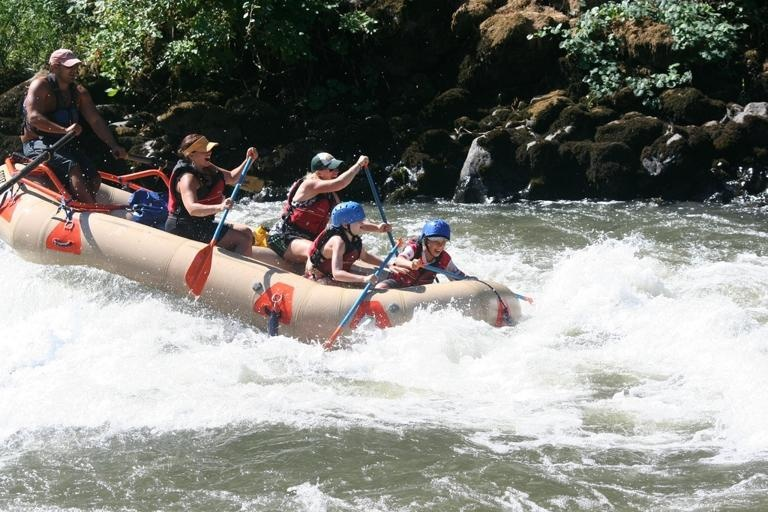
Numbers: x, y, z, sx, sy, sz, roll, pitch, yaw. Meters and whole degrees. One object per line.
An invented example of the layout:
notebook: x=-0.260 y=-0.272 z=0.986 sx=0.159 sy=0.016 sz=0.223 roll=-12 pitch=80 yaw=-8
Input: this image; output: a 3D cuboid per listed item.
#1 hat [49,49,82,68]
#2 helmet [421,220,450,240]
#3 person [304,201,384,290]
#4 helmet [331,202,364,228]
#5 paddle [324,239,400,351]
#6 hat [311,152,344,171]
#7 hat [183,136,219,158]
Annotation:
hat: x=-4.749 y=-2.945 z=16.586 sx=0.429 sy=0.210 sz=0.280 roll=-3 pitch=16 yaw=-1
helmet: x=0.731 y=-0.379 z=15.645 sx=0.360 sy=0.185 sz=0.244 roll=3 pitch=6 yaw=-9
person: x=-0.502 y=-0.035 z=15.733 sx=1.257 sy=1.390 sz=1.108 roll=-2 pitch=23 yaw=-9
helmet: x=-0.513 y=-0.601 z=15.597 sx=0.432 sy=0.243 sz=0.300 roll=0 pitch=4 yaw=5
paddle: x=-0.324 y=0.590 z=15.378 sx=0.166 sy=0.226 sz=2.072 roll=28 pitch=56 yaw=17
hat: x=-0.820 y=-1.375 z=16.107 sx=0.405 sy=0.209 sz=0.269 roll=-7 pitch=14 yaw=5
hat: x=-2.669 y=-1.573 z=15.863 sx=0.421 sy=0.145 sz=0.253 roll=-7 pitch=9 yaw=5
